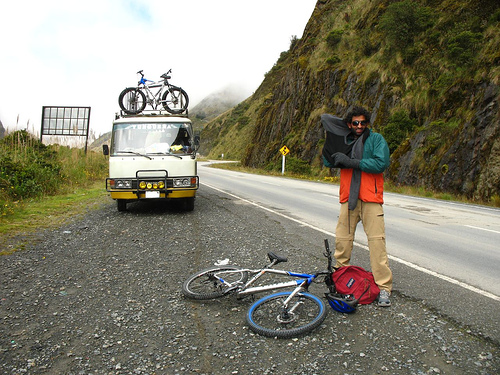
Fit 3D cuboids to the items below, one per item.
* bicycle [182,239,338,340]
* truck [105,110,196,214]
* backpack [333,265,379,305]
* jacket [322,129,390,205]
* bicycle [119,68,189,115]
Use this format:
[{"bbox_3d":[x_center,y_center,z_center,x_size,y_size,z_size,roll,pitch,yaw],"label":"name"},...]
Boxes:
[{"bbox_3d":[0.101,1.247,4.315,1.863,0.742,1.011,10,11,36],"label":"bicycle"},{"bbox_3d":[-2.976,-0.963,10.735,2.288,2.588,4.295,-1,2,-4],"label":"truck"},{"bbox_3d":[1.464,1.389,4.592,0.435,0.637,0.652,4,-16,-41],"label":"backpack"},{"bbox_3d":[1.576,-0.300,4.636,0.735,1.080,0.402,5,8,13],"label":"jacket"},{"bbox_3d":[-3.479,-3.429,11.633,2.441,1.598,1.204,-7,28,-24],"label":"bicycle"}]
